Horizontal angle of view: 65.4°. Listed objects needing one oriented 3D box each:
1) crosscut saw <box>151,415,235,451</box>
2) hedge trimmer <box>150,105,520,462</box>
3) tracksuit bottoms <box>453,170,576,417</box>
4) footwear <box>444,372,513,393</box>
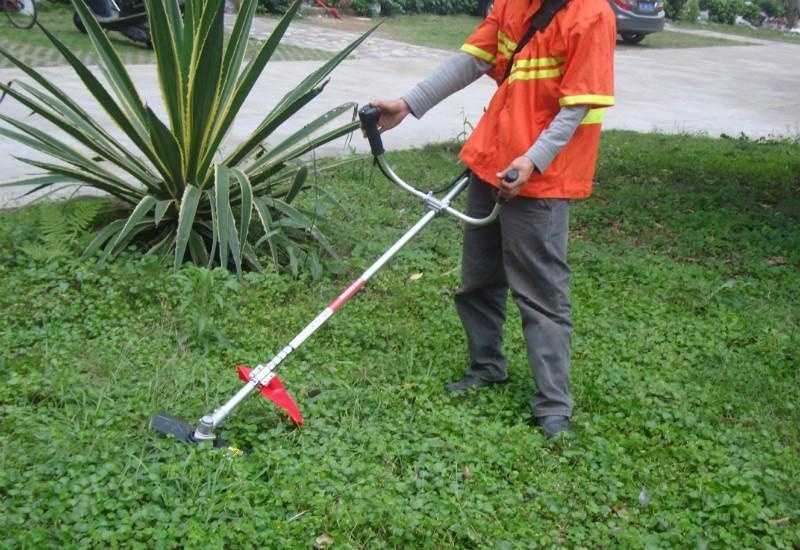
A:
[{"bbox_3d":[-1.192,0.832,3.340,0.313,0.088,0.090,19,28,17],"label":"crosscut saw"},{"bbox_3d":[-0.467,0.097,4.107,1.079,1.506,2.089,30,38,26],"label":"hedge trimmer"},{"bbox_3d":[0.673,0.129,3.666,0.415,1.686,0.783,-27,43,-27],"label":"tracksuit bottoms"},{"bbox_3d":[0.488,0.658,3.879,0.395,0.162,0.130,3,-8,-11],"label":"footwear"}]
